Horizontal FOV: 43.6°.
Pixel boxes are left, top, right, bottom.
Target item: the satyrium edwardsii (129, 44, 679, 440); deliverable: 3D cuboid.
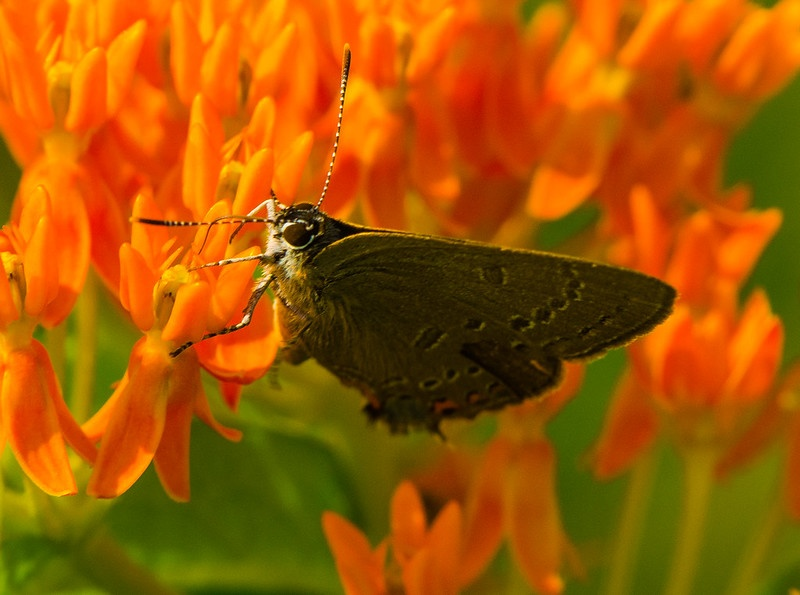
[{"bbox_3d":[-0.021,0.016,1.041,0.430,0.402,0.291,19,95,-21],"label":"satyrium edwardsii"}]
